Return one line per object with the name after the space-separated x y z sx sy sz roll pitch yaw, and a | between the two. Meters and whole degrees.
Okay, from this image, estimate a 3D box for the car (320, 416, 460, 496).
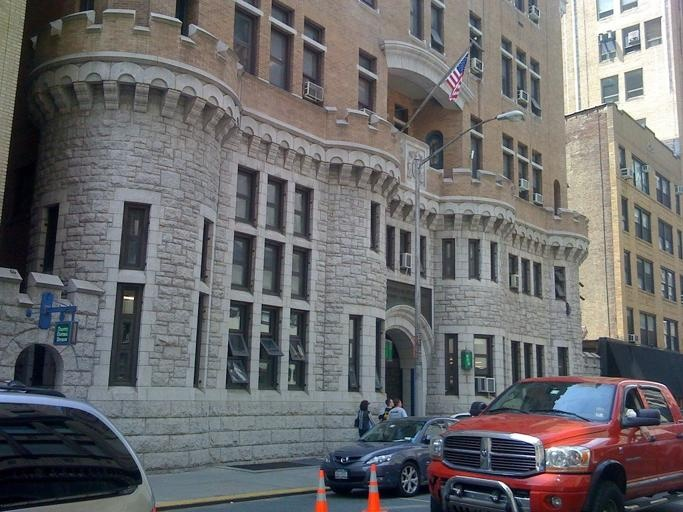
1.403 5.145 20.830 1.875 1.408 4.129 -13 -19 37 | car
